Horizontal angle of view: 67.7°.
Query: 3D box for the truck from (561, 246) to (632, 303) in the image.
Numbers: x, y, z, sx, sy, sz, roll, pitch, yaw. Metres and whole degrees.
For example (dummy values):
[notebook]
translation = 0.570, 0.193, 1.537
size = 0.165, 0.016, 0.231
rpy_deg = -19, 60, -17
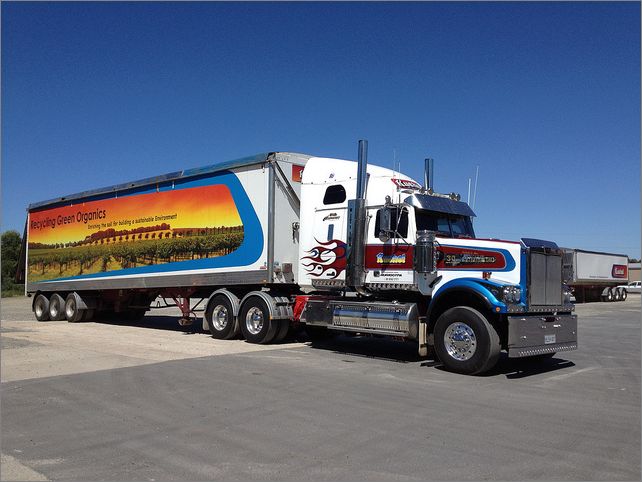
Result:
[truck]
translation = 23.948, 2.860, 42.433
size = 7.148, 4.223, 2.666
rpy_deg = 3, -1, -22
